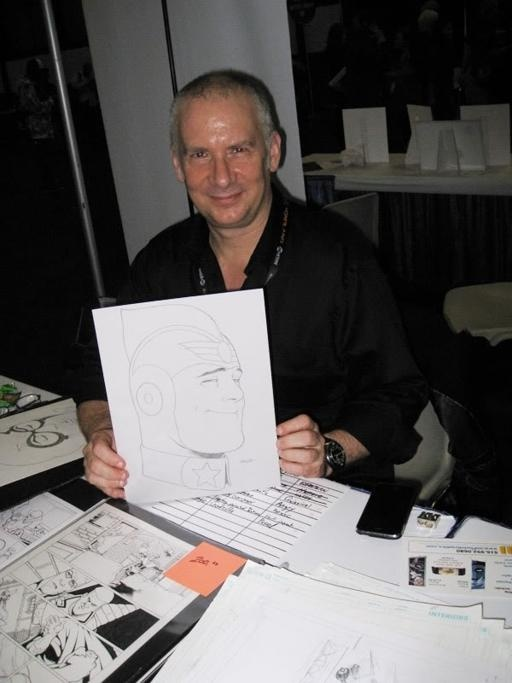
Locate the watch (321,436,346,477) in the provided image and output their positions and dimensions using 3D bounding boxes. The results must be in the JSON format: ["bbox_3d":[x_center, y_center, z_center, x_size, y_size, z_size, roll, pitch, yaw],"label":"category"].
[{"bbox_3d":[0.147,0.220,1.061,0.048,0.066,0.071,4,55,-13],"label":"watch"}]

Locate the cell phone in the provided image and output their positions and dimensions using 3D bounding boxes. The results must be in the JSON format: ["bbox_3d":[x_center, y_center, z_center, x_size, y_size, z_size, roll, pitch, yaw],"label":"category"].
[{"bbox_3d":[0.206,0.268,0.879,0.076,0.016,0.126,-2,23,25],"label":"cell phone"}]
